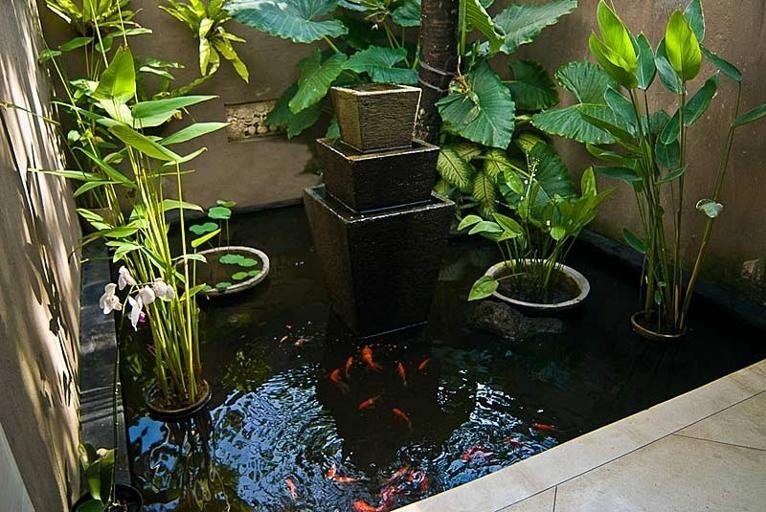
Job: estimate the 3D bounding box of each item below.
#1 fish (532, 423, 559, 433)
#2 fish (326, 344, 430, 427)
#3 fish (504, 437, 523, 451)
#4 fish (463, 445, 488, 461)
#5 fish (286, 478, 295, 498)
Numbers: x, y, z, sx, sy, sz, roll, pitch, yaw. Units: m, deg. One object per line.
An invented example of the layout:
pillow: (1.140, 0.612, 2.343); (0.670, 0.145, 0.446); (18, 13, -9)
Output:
fish: (0.769, 0.804, 2.697); (0.135, 0.039, 0.037); (9, 20, 17)
fish: (-0.096, 0.636, 2.986); (0.377, 0.065, 0.336); (15, 34, 15)
fish: (0.605, 0.859, 2.628); (0.065, 0.023, 0.040); (15, 42, 34)
fish: (0.422, 0.885, 2.584); (0.065, 0.020, 0.063); (-9, 21, -26)
fish: (-0.394, 0.992, 2.451); (0.032, 0.015, 0.061); (-16, 43, -5)
